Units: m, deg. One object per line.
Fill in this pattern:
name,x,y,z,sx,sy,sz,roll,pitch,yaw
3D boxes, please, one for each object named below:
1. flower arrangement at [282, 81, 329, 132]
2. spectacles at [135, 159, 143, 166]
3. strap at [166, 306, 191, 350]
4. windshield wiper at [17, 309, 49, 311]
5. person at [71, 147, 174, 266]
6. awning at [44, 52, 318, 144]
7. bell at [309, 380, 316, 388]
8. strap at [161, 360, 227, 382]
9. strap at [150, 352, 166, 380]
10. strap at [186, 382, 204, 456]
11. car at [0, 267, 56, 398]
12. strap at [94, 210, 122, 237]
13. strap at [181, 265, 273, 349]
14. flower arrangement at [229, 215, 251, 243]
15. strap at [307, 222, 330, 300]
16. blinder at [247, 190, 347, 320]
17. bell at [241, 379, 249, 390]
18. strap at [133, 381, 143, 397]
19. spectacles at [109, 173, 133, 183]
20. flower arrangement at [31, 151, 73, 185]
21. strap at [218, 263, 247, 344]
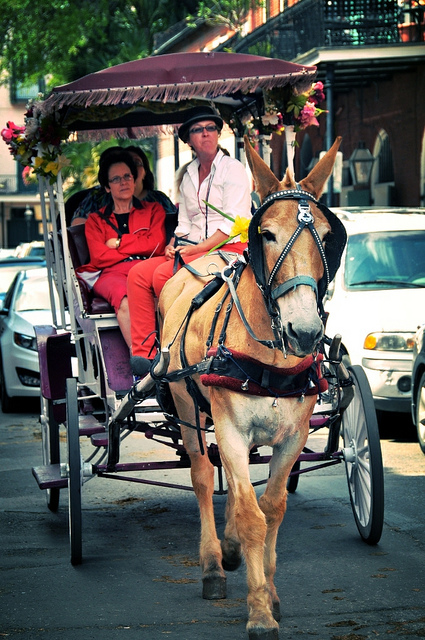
flower arrangement,0.608,-1.487,6.225,0.221,0.350,0.308,-8,18,-25
spectacles,-0.623,-1.347,7.637,0.020,0.055,0.076,-1,1,39
strap,-0.180,0.042,4.787,0.039,0.274,0.043,37,13,-4
windshield wiper,-2.373,-0.140,11.766,0.336,0.018,0.064,-2,1,-6
person,-0.812,-0.941,7.380,0.835,1.030,0.426,-2,-16,2
awning,-0.115,-1.720,6.278,1.406,0.303,1.662,-2,12,21
bell,0.451,0.294,4.097,0.035,0.026,0.057,-7,16,4
strap,-0.110,0.231,4.386,0.259,0.065,0.136,-19,11,-30
strap,-0.291,0.248,4.738,0.102,0.122,0.046,8,-3,-19
strap,-0.090,0.517,4.666,0.146,0.327,0.170,-6,16,-25
car,-2.436,0.183,11.646,0.663,1.554,1.958,-2,1,-11
strap,-0.792,-0.730,6.799,0.336,0.047,0.024,41,-3,31
strap,0.080,-0.092,4.096,0.080,0.199,0.660,-31,50,-9
flower arrangement,0.144,-0.416,4.072,0.049,0.112,0.108,-10,38,-26
strap,0.412,-0.240,3.565,0.092,0.283,0.098,-3,17,-14
blinder,0.349,-0.319,3.680,0.415,0.534,0.316,-10,17,-28
bell,0.139,0.282,3.861,0.033,0.033,0.031,-2,6,-21
strap,-0.410,0.382,4.922,0.071,0.069,0.017,-3,30,45
spectacles,-0.689,-1.073,6.736,0.165,0.068,0.086,-2,1,-11
flower arrangement,-1.156,-1.086,6.415,0.250,0.227,0.320,-2,1,-11
strap,0.072,-0.067,4.118,0.089,0.434,0.056,12,-15,40
